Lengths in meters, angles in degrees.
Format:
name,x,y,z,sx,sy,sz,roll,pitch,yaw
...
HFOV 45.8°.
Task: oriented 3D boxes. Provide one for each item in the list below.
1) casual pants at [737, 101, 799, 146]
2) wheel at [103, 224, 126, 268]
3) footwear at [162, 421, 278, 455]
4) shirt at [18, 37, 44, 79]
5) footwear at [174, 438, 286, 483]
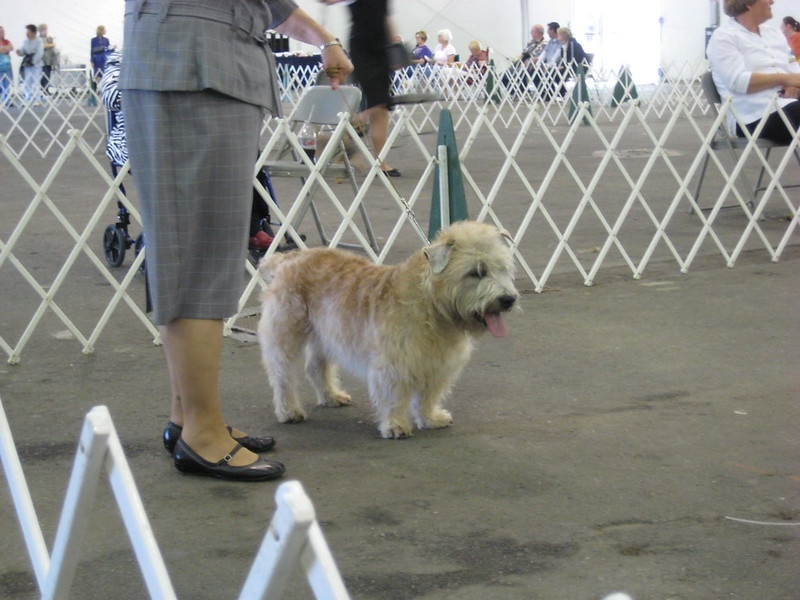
name,x,y,z,sx,sy,sz,roll,pitch,yaw
casual pants,3.127,-1.516,8.046,0.497,0.385,0.344,9,15,17
wheel,-2.193,-0.413,7.278,0.074,0.306,0.310,-5,33,-31
footwear,-0.839,0.644,4.324,0.554,0.202,0.183,5,13,-24
shirt,-8.647,-5.558,22.150,0.565,1.332,0.373,5,18,0
footwear,-0.737,0.717,4.163,0.510,0.190,0.181,2,5,-4
